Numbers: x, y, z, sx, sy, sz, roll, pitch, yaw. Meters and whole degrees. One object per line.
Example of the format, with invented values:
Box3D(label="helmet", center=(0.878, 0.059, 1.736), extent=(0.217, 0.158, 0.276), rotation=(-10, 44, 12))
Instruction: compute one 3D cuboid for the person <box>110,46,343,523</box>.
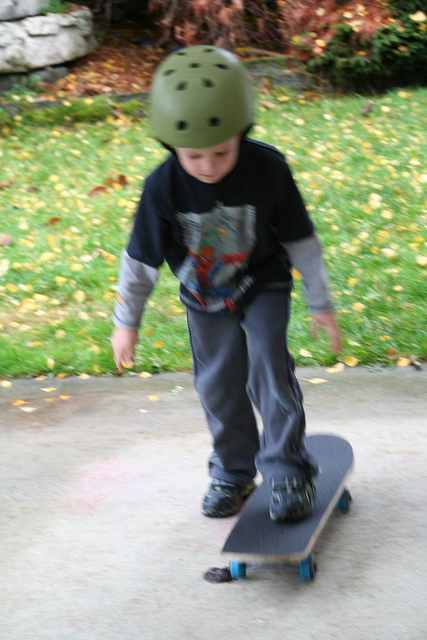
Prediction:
Box3D(label="person", center=(0.087, 0.017, 1.810), extent=(0.671, 1.647, 0.641), rotation=(-11, 14, -32))

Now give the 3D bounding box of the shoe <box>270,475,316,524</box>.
Box3D(label="shoe", center=(0.247, 0.563, 1.821), extent=(0.150, 0.066, 0.224), rotation=(-11, 23, 10))

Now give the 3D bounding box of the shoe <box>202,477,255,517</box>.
Box3D(label="shoe", center=(0.062, 0.697, 2.216), extent=(0.117, 0.151, 0.345), rotation=(-1, -3, 27))

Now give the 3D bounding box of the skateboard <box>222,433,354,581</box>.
Box3D(label="skateboard", center=(0.292, 0.666, 1.959), extent=(0.303, 0.181, 0.725), rotation=(9, 20, 30))
